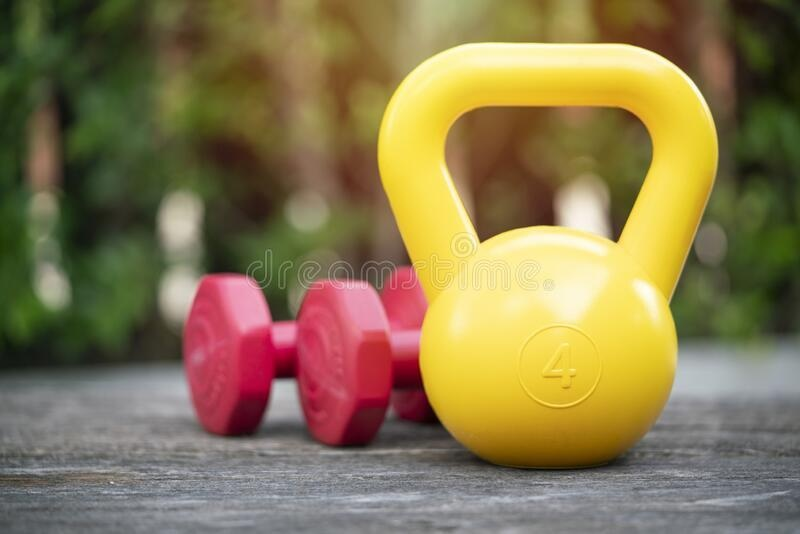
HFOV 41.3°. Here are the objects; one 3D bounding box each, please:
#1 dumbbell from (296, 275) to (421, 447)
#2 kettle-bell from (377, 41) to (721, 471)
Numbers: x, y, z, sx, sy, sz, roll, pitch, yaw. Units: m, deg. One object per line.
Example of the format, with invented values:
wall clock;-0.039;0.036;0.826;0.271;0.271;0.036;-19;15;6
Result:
dumbbell;-0.069;0.184;2.167;0.365;0.288;0.246;3;-3;-26
kettle-bell;0.270;0.030;2.051;0.603;0.967;0.469;0;-13;5
